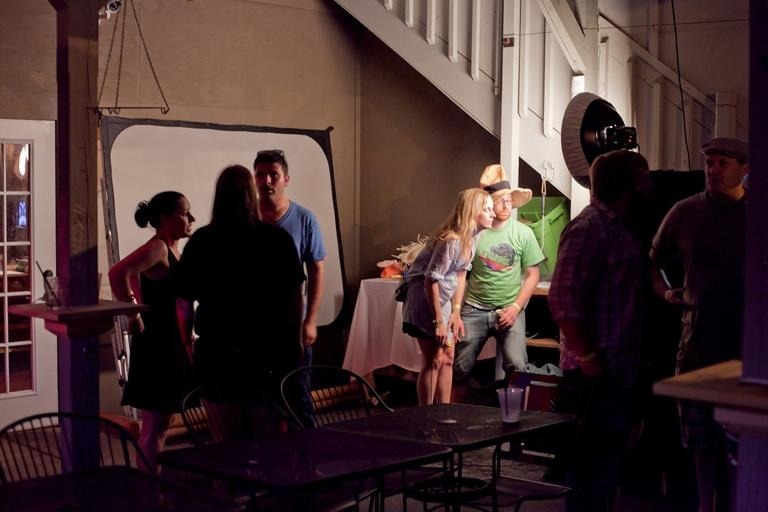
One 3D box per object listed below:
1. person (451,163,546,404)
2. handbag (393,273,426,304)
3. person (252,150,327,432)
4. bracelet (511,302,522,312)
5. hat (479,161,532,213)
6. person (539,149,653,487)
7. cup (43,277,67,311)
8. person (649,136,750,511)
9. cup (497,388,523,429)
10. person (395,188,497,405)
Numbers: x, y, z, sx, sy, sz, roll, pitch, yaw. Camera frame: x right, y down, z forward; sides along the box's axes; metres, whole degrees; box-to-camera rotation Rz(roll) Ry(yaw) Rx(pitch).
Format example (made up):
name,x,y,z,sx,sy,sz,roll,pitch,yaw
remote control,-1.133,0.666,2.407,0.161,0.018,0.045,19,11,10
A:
name,x,y,z,sx,sy,sz,roll,pitch,yaw
person,0.894,0.455,6.246,0.850,2.350,0.800,4,15,19
handbag,0.201,0.269,6.086,0.088,0.264,0.179,18,-2,-41
person,-0.946,0.392,6.287,0.834,2.574,0.677,4,23,0
bracelet,1.095,0.425,6.071,0.020,0.075,0.076,-30,-2,15
hat,1.064,-0.626,6.460,0.315,0.203,0.456,-33,-15,5
person,1.191,0.401,3.948,0.552,1.774,0.283,-4,-2,18
cup,-2.003,0.221,4.465,0.116,0.191,0.104,-3,-2,-27
person,1.979,0.476,4.512,0.601,2.318,0.666,-4,-2,34
cup,0.637,0.779,3.742,0.157,0.168,0.159,-2,0,0
person,0.513,0.346,5.940,0.803,1.390,0.494,-4,-2,1
